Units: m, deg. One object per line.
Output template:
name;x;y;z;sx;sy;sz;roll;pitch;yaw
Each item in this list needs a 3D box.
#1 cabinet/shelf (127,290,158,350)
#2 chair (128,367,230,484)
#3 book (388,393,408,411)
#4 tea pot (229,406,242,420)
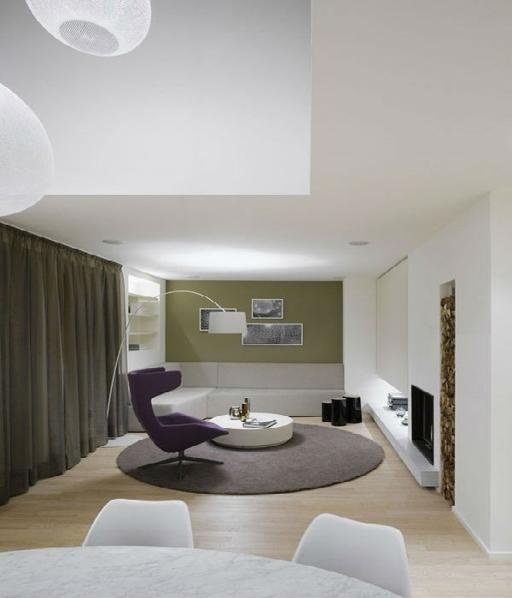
cabinet/shelf;-1.683;0.376;7.885;0.226;0.734;0.801;-6;3;6
chair;-0.740;1.101;5.052;0.845;1.042;0.967;-3;-2;42
book;1.947;1.438;7.257;0.226;0.198;0.388;0;-2;9
tea pot;-0.245;1.331;6.138;0.115;0.125;0.121;2;-3;0
